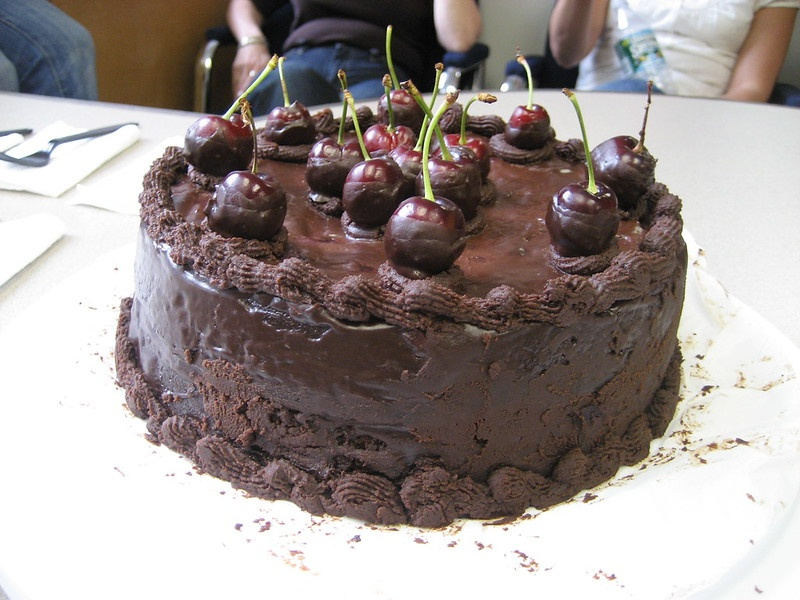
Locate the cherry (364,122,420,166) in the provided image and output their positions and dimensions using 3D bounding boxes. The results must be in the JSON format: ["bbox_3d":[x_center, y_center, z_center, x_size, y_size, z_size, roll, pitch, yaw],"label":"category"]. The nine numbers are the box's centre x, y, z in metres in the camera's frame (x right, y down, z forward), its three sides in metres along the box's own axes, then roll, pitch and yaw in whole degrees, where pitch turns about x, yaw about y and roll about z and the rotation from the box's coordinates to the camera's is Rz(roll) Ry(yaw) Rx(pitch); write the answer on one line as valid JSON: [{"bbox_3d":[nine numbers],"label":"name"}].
[{"bbox_3d":[-0.048,-0.557,2.636,0.161,0.157,0.165,-3,0,36],"label":"cherry"}]

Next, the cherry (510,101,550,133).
[{"bbox_3d":[0.482,-0.691,2.905,0.121,0.108,0.122,15,24,37],"label":"cherry"}]

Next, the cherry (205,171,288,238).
[{"bbox_3d":[-0.440,-0.268,2.227,0.212,0.153,0.197,2,22,1],"label":"cherry"}]

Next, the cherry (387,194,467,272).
[{"bbox_3d":[0.083,-0.182,2.210,0.242,0.236,0.224,4,23,-5],"label":"cherry"}]

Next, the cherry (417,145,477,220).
[{"bbox_3d":[0.133,-0.324,2.393,0.181,0.198,0.163,-24,-18,12],"label":"cherry"}]

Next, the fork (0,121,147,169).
[{"bbox_3d":[-1.549,-0.722,3.601,0.077,0.071,0.487,38,43,18],"label":"fork"}]

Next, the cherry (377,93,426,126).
[{"bbox_3d":[-0.001,-0.723,2.995,0.178,0.191,0.168,2,8,-5],"label":"cherry"}]

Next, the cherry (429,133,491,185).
[{"bbox_3d":[0.210,-0.493,2.593,0.186,0.188,0.183,2,23,15],"label":"cherry"}]

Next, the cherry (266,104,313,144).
[{"bbox_3d":[-0.406,-0.639,2.800,0.161,0.142,0.156,-2,11,-10],"label":"cherry"}]

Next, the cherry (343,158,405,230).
[{"bbox_3d":[-0.097,-0.304,2.400,0.173,0.216,0.207,11,-20,-10],"label":"cherry"}]

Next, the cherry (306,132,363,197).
[{"bbox_3d":[-0.225,-0.434,2.495,0.200,0.176,0.193,-7,3,-32],"label":"cherry"}]
